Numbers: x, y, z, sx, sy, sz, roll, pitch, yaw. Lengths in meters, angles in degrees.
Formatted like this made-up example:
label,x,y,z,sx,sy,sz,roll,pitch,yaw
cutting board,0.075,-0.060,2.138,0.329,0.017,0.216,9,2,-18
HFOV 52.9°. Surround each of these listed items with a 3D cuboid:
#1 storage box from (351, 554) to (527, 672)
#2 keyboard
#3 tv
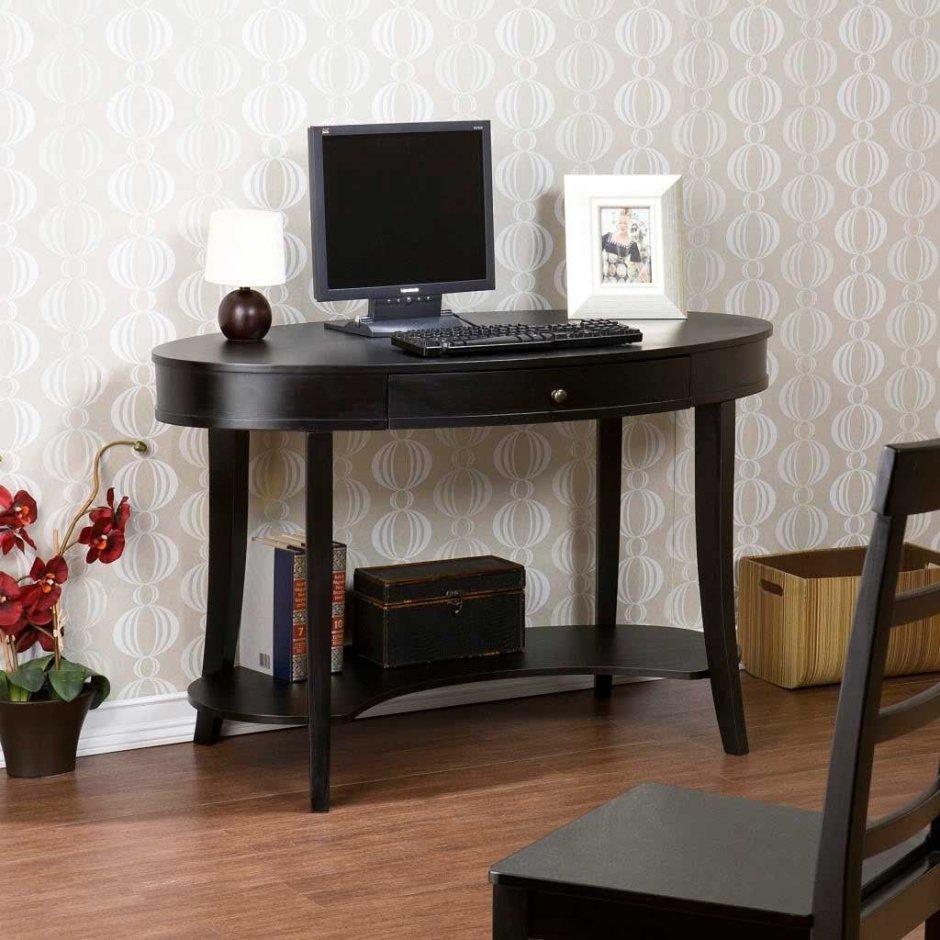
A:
label,x,y,z,sx,sy,sz,roll,pitch,yaw
storage box,-0.069,0.358,2.314,0.427,0.209,0.253,-3,7,-25
keyboard,0.084,-0.277,2.005,0.515,0.088,0.259,-3,6,-27
tv,-0.161,-0.562,2.167,0.572,0.532,0.203,-7,15,-27
